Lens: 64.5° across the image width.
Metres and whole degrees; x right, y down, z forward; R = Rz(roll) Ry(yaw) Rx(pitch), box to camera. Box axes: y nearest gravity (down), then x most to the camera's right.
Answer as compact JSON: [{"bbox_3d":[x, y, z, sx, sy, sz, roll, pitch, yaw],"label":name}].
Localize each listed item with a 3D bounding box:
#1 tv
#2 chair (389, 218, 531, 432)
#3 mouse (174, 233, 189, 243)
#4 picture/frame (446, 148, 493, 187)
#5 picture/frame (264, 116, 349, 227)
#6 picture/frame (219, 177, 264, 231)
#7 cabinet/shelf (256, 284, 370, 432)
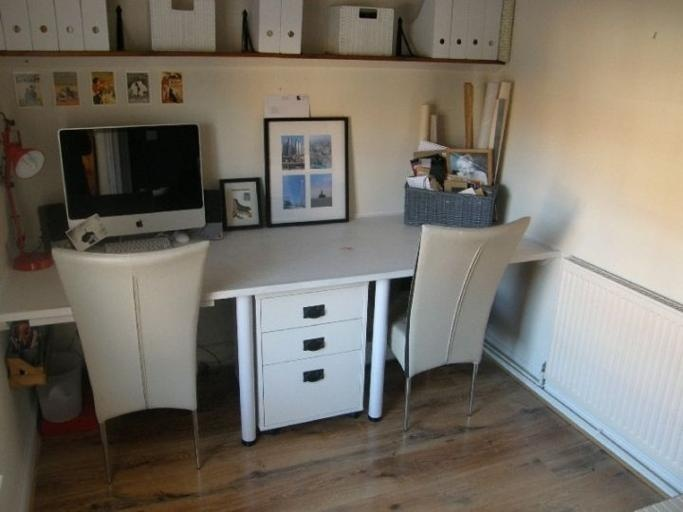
[{"bbox_3d":[-0.978,-0.355,2.462,0.481,0.425,0.038,-8,15,-20],"label":"tv"},{"bbox_3d":[0.554,0.193,2.424,0.477,0.768,0.242,-11,22,-26],"label":"chair"},{"bbox_3d":[-0.769,-0.090,2.608,0.053,0.018,0.050,-2,42,-20],"label":"mouse"},{"bbox_3d":[0.687,-0.472,2.890,0.203,0.184,0.015,0,4,-1],"label":"picture/frame"},{"bbox_3d":[-0.205,-0.474,2.899,0.534,0.680,0.025,-4,12,-21],"label":"picture/frame"},{"bbox_3d":[-0.534,-0.277,2.831,0.256,0.316,0.022,-4,8,-13],"label":"picture/frame"},{"bbox_3d":[-0.150,0.451,2.494,0.508,0.767,0.487,-6,18,-20],"label":"cabinet/shelf"}]
